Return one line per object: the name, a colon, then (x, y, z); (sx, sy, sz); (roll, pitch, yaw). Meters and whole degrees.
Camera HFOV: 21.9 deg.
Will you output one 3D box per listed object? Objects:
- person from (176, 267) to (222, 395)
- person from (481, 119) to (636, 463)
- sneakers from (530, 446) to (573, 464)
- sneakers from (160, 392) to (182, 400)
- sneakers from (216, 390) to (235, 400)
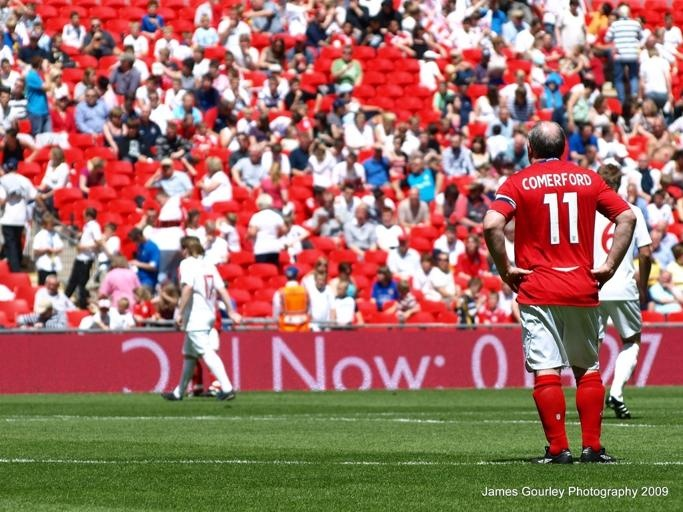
person: (-1.979, 0.995, 24.758); (0.702, 1.980, 0.448); (-4, 9, -7)
person: (2.379, 0.428, 19.427); (1.512, 3.747, 0.920); (-2, 9, 10)
sneakers: (2.323, 2.211, 19.427); (0.468, 0.204, 0.176); (0, -2, 24)
sneakers: (-2.424, 2.040, 25.211); (0.272, 0.131, 0.126); (12, 7, 10)
sneakers: (-1.656, 1.991, 24.859); (0.292, 0.137, 0.110); (0, 3, 35)
